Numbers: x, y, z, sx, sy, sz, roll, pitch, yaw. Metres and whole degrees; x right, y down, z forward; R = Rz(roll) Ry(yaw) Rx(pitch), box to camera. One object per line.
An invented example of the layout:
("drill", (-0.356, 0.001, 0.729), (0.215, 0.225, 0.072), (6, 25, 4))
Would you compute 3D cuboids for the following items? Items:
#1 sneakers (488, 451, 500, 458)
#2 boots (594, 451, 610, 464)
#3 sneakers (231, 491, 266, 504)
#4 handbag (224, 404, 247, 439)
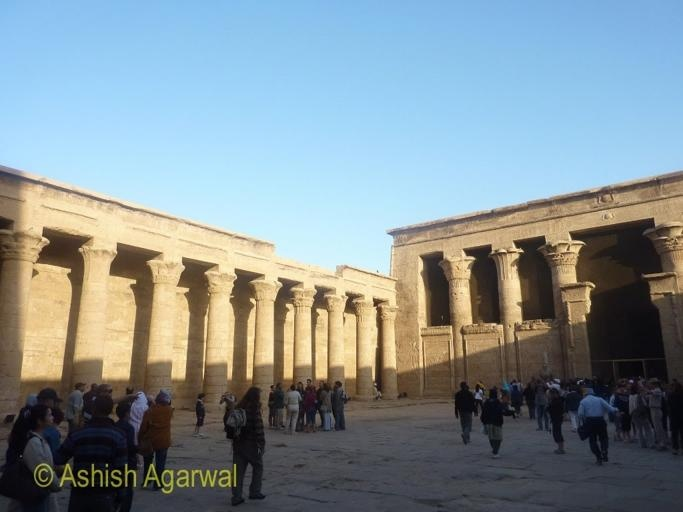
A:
("sneakers", (4.061, 5.263, 13.827), (0.147, 0.160, 0.395), (-12, -30, 26))
("boots", (6.487, 5.004, 12.983), (0.211, 0.209, 0.560), (-1, -6, 15))
("sneakers", (-1.852, 4.699, 10.166), (0.718, 0.227, 0.219), (-2, -7, -21))
("handbag", (-2.039, 3.276, 10.238), (0.389, 0.625, 0.367), (-1, -14, -11))
